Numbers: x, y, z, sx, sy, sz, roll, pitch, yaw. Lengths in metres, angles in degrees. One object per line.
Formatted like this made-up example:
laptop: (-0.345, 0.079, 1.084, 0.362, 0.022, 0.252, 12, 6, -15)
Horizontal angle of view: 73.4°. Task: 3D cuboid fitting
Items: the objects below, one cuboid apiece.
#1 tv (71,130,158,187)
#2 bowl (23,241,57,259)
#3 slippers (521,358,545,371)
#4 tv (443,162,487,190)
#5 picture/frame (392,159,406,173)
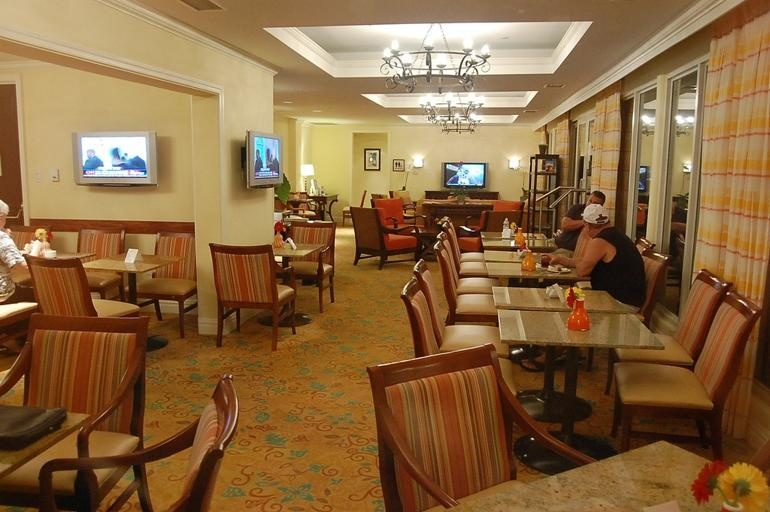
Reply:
tv: (-3.460, -1.244, 6.572, 1.109, 0.654, 0.182, 1, 11, 13)
bowl: (-3.794, -0.069, 5.632, 0.309, 0.270, 0.180, 1, 11, -13)
slippers: (1.499, 1.107, 5.253, 0.145, 0.027, 0.131, -7, 11, -18)
tv: (2.484, -2.477, 15.956, 1.333, 0.793, 0.318, -1, 11, -2)
picture/frame: (0.441, -2.877, 16.251, 0.477, 0.415, 0.045, 1, 10, -3)
